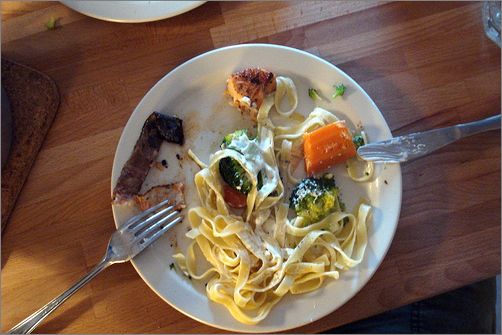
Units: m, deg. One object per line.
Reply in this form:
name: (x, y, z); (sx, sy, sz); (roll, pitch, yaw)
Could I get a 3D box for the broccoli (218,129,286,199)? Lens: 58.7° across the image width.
broccoli: (-0.064, 0.033, 3.771); (0.388, 0.238, 0.661); (-29, 87, -3)

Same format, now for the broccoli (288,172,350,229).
broccoli: (0.573, 0.271, 3.743); (0.501, 0.228, 0.434); (-2, 85, -1)
